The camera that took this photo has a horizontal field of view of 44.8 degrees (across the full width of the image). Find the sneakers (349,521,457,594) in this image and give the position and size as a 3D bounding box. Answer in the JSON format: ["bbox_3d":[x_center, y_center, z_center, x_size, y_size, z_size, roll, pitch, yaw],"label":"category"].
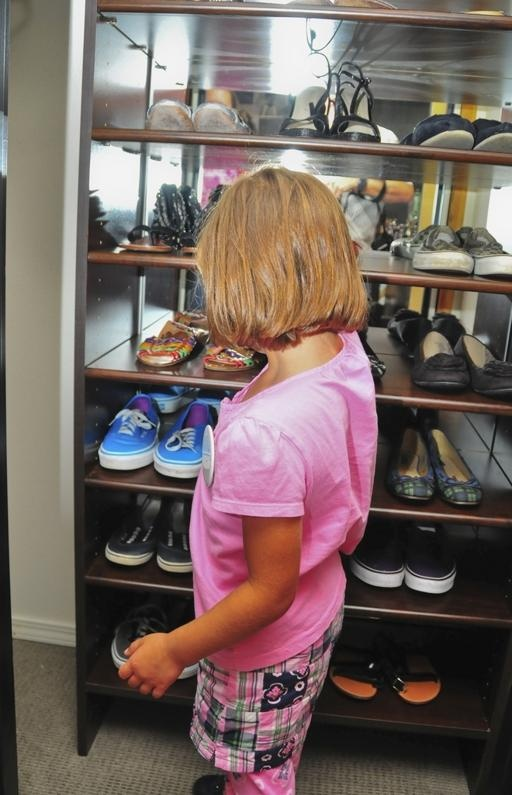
[{"bbox_3d":[0.354,0.399,1.524,0.284,0.147,0.405,2,-2,15],"label":"sneakers"}]

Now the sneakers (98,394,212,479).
[{"bbox_3d":[-0.238,0.048,1.508,0.191,0.081,0.260,6,19,3],"label":"sneakers"}]

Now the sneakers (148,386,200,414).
[{"bbox_3d":[-0.240,-0.004,1.777,0.060,0.062,0.153,5,13,14],"label":"sneakers"}]

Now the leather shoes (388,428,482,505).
[{"bbox_3d":[0.424,0.160,1.525,0.126,0.083,0.230,5,10,4],"label":"leather shoes"}]

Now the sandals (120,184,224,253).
[{"bbox_3d":[-0.194,-0.461,1.533,0.145,0.172,0.408,4,20,2],"label":"sandals"}]

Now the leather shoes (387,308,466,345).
[{"bbox_3d":[0.454,-0.195,1.648,0.145,0.063,0.106,-3,5,-13],"label":"leather shoes"}]

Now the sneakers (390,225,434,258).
[{"bbox_3d":[0.393,-0.386,1.533,0.050,0.055,0.141,4,22,3],"label":"sneakers"}]
